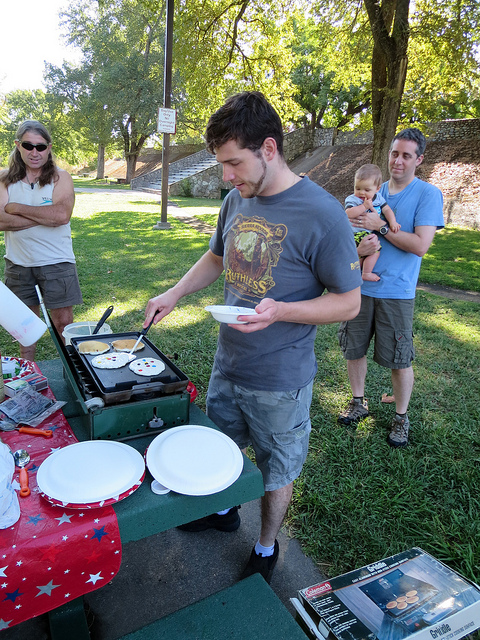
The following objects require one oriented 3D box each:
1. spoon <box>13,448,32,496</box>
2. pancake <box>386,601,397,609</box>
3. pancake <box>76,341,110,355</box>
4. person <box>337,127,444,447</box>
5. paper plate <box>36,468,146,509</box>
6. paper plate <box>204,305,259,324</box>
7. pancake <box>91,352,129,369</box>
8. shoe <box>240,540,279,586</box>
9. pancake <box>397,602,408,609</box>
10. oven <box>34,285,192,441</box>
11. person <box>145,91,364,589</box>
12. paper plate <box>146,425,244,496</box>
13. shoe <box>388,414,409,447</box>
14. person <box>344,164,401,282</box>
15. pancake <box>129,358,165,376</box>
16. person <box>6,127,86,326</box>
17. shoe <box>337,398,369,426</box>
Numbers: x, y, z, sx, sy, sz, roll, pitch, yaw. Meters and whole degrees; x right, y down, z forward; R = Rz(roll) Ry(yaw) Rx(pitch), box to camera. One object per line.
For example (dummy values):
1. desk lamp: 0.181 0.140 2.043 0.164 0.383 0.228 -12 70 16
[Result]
1. spoon: -0.622 0.433 1.395 0.048 0.024 0.187 1 23 -26
2. pancake: 0.491 0.927 1.575 0.038 0.005 0.026 -4 6 -21
3. pancake: -0.570 0.107 1.886 0.123 0.036 0.139 -4 6 -18
4. person: 0.933 -0.196 3.143 0.571 1.955 0.661 -11 18 -43
5. paper plate: -0.396 0.477 1.316 0.276 0.061 0.112 -4 6 -19
6. paper plate: -0.032 -0.022 1.627 0.168 0.054 0.295 -2 5 -4
7. pancake: -0.463 0.146 1.752 0.114 0.035 0.147 -1 5 9
8. shoe: 0.091 1.054 2.132 0.104 0.094 0.251 3 0 17
9. pancake: 0.521 0.923 1.565 0.029 0.005 0.031 0 6 18
10. oven: -0.515 0.123 1.791 0.448 0.405 0.709 -7 17 -25
11. person: 0.139 0.153 2.199 0.977 2.095 0.913 -3 6 -40
12. paper plate: -0.140 0.428 1.505 0.292 0.120 0.320 -3 6 -9
13. shoe: 1.003 0.700 3.077 0.095 0.095 0.231 3 20 21
14. person: 0.875 -0.622 3.171 0.341 0.706 0.271 4 13 19
15. pancake: -0.326 0.163 1.710 0.121 0.034 0.157 -6 7 -41
16. person: -1.350 -0.571 3.230 0.457 1.265 0.463 -1 6 6
17. shoe: 0.785 0.642 3.398 0.302 0.127 0.116 -4 5 -43
